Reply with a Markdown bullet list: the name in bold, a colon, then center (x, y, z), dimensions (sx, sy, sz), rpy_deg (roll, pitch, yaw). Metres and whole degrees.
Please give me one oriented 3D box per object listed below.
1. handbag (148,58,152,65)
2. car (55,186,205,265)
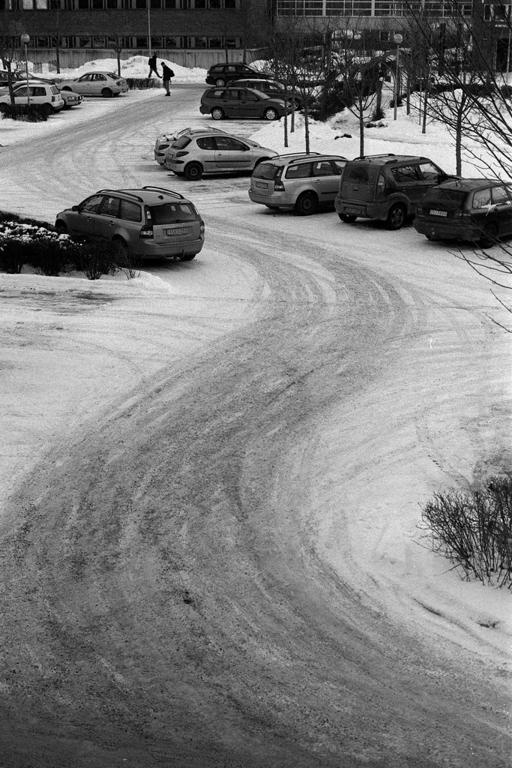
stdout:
- **handbag**: center (-6.715, -20.526, 59.823), dimensions (0.148, 0.325, 0.324), rpy_deg (-1, 17, 5)
- **car**: center (-2.333, -3.016, 17.388), dimensions (1.386, 1.066, 2.658), rpy_deg (-19, 32, -41)
